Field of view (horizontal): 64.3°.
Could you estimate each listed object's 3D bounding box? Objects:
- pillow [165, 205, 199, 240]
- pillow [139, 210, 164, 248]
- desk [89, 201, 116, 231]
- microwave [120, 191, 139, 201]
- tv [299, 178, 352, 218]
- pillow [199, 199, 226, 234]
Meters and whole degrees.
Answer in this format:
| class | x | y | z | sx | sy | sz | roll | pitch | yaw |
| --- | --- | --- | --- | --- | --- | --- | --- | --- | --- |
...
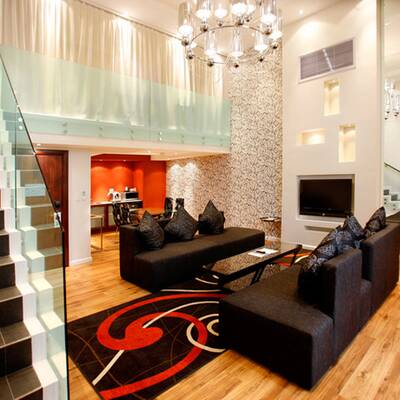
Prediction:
| class | x | y | z | sx | sy | sz | roll | pitch | yaw |
| --- | --- | --- | --- | --- | --- | --- | --- | --- | --- |
| pillow | -0.277 | 0.380 | 4.840 | 0.147 | 0.475 | 0.513 | -13 | 14 | 24 |
| pillow | -0.681 | 0.423 | 4.418 | 0.331 | 0.471 | 0.505 | -2 | 7 | -6 |
| desk | -2.396 | 0.380 | 7.730 | 0.368 | 0.658 | 0.690 | 7 | 9 | 38 |
| microwave | -2.143 | -0.167 | 9.359 | 0.253 | 0.179 | 0.341 | 4 | 6 | 44 |
| tv | 2.361 | -0.041 | 5.888 | 0.075 | 0.527 | 0.713 | -6 | 7 | -44 |
| pillow | 0.193 | 0.298 | 5.433 | 0.168 | 0.530 | 0.549 | -1 | -12 | 14 |
